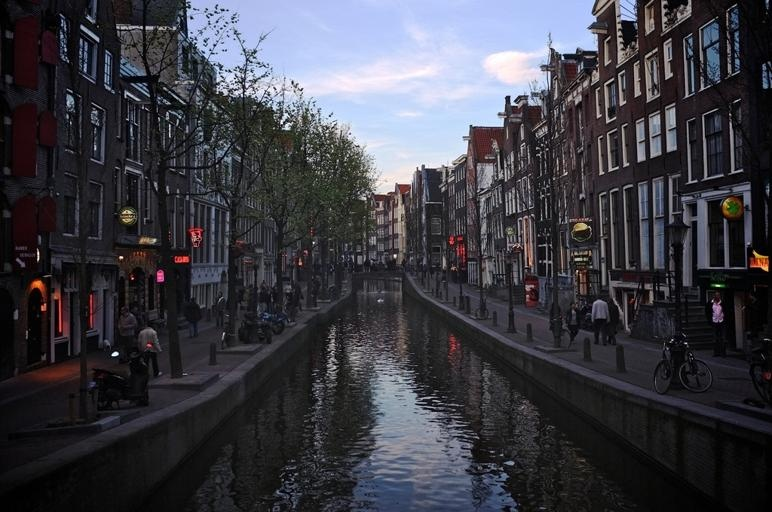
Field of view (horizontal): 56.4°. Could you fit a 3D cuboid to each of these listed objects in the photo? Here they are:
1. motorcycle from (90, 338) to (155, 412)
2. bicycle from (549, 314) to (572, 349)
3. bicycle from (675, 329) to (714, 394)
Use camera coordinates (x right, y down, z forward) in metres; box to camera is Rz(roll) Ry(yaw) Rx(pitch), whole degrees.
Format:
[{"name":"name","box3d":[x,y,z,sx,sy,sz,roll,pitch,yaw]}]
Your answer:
[{"name":"motorcycle","box3d":[-8.395,4.066,23.343,1.232,1.967,2.521,-12,-11,36]},{"name":"bicycle","box3d":[8.700,3.836,35.848,0.980,1.718,0.980,-16,8,-13]},{"name":"bicycle","box3d":[10.353,3.694,24.126,1.107,1.662,1.380,4,8,25]}]
